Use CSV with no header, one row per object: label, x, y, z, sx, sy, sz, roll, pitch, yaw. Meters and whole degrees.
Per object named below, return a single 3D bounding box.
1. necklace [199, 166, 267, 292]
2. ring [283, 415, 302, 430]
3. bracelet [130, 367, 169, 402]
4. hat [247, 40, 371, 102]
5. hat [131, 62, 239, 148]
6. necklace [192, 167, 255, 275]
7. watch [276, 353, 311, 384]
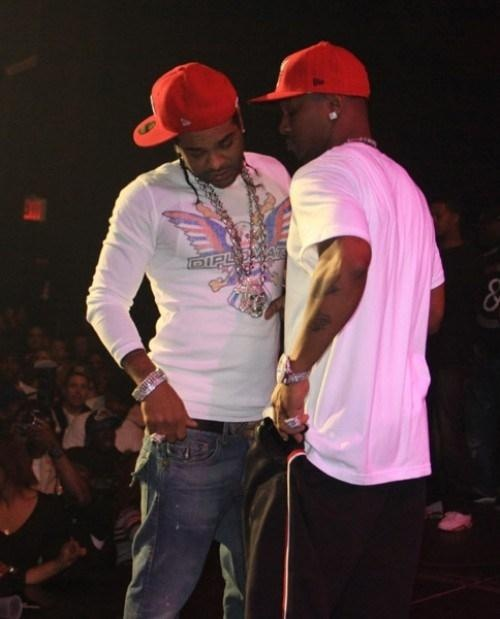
necklace,-0.049,-0.260,2.286,0.150,0.378,0.020,-17,-7,-23
ring,0.113,0.293,1.843,0.043,0.023,0.012,-8,8,-31
bracelet,-0.289,0.224,2.082,0.100,0.123,0.116,-5,26,-8
hat,0.183,-0.677,2.044,0.277,0.123,0.169,0,14,4
hat,-0.248,-0.600,2.203,0.365,0.158,0.221,-12,46,12
necklace,-0.052,-0.265,2.254,0.209,0.279,0.073,-9,-7,-41
watch,0.096,0.156,1.835,0.096,0.058,0.062,11,32,-12
